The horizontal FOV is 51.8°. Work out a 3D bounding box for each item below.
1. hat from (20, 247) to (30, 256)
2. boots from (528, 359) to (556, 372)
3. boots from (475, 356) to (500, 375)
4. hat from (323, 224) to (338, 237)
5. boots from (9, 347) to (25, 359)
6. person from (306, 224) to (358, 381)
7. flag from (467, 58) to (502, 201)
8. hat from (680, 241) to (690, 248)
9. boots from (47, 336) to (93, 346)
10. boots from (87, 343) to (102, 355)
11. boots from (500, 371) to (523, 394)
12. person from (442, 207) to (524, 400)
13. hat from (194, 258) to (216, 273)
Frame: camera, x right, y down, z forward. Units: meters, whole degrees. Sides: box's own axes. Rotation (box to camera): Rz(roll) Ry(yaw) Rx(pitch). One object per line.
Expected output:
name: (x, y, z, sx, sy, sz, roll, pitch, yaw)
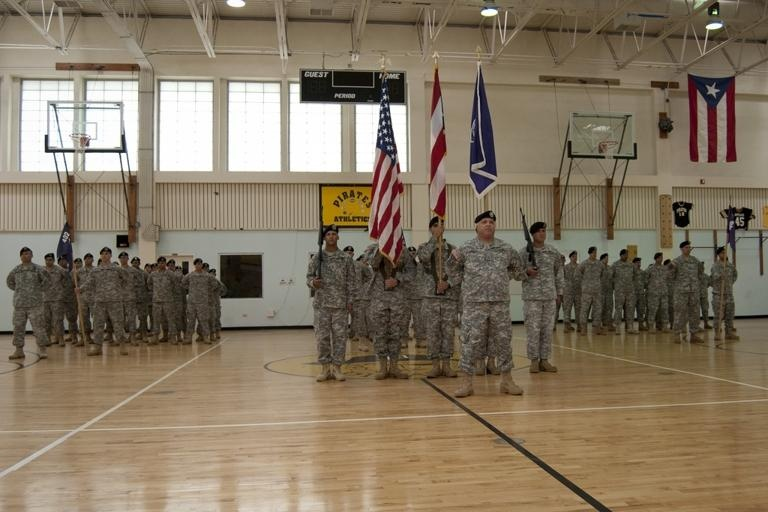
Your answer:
hat: (-7.806, -0.132, 17.148, 0.165, 0.146, 0.377, 0, 1, -24)
boots: (3.045, 2.116, 15.370, 0.591, 0.396, 0.226, -2, -4, 2)
boots: (1.979, 2.111, 15.205, 0.280, 0.486, 0.717, -1, -15, 13)
hat: (-1.016, -0.502, 15.019, 0.346, 0.166, 0.400, 0, -13, -7)
boots: (-7.902, 2.060, 16.967, 0.310, 0.234, 0.488, 0, 1, -23)
person: (-0.993, 0.878, 14.869, 0.892, 2.904, 0.571, 0, 1, -10)
flag: (1.901, -2.398, 15.023, 0.457, 2.544, 0.532, 1, 1, 7)
hat: (7.147, -0.293, 18.678, 0.224, 0.105, 0.269, 1, -14, -9)
boots: (-7.462, 1.992, 18.691, 0.881, 0.355, 0.267, -5, -7, -1)
boots: (-6.332, 2.018, 17.316, 0.297, 0.232, 0.505, 0, 1, -20)
boots: (2.237, 2.283, 14.012, 0.530, 0.475, 0.251, -3, -5, 32)
person: (1.828, 0.830, 13.936, 1.195, 3.276, 0.525, 0, 1, -13)
hat: (-4.432, 0.216, 19.093, 0.440, 0.206, 0.522, 2, -30, -13)
